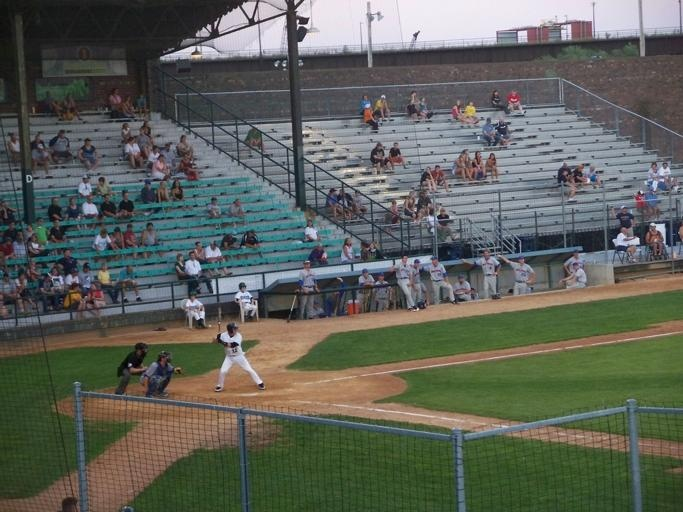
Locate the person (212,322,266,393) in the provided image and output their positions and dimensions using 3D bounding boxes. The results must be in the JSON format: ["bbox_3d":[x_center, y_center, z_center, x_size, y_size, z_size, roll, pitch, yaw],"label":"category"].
[{"bbox_3d":[-3.072,3.115,45.753,1.533,2.314,1.019,-10,15,-27],"label":"person"}]

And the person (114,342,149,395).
[{"bbox_3d":[-5.882,3.210,43.399,1.051,1.533,0.824,1,18,-46],"label":"person"}]

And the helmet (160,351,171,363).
[{"bbox_3d":[-4.969,2.843,43.096,0.283,0.340,0.375,2,9,35],"label":"helmet"}]

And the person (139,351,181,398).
[{"bbox_3d":[-5.112,3.355,43.198,1.156,1.250,0.778,1,6,-9],"label":"person"}]

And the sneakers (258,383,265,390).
[{"bbox_3d":[-2.317,3.746,43.860,0.171,0.219,0.500,0,-5,3],"label":"sneakers"}]

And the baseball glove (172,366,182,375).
[{"bbox_3d":[-4.744,3.294,43.804,0.298,0.293,0.545,-12,-2,-7],"label":"baseball glove"}]
